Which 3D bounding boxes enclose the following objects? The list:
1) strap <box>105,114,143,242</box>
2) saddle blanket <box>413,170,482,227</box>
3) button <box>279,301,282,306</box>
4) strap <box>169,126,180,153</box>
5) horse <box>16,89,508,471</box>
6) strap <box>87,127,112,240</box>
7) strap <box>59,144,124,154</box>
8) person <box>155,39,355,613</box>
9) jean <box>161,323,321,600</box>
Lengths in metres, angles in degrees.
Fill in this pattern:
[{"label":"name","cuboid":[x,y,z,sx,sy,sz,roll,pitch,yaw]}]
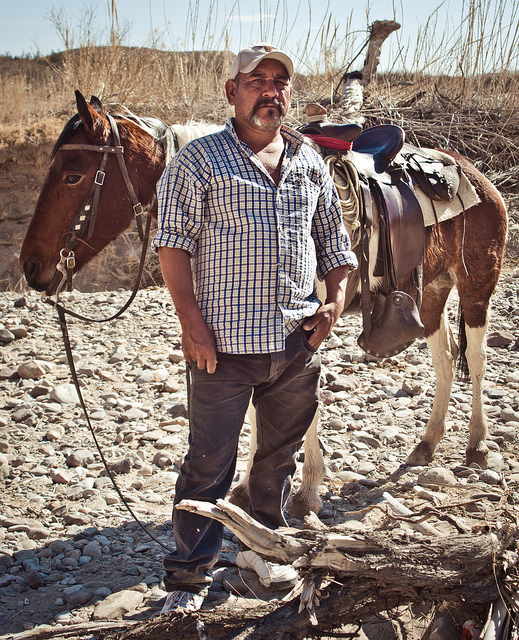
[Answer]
[{"label":"strap","cuboid":[-0.703,-0.770,4.183,0.258,0.592,0.266,21,33,36]},{"label":"saddle blanket","cuboid":[1.119,-0.712,4.622,0.373,0.292,0.119,-19,4,-20]},{"label":"button","cuboid":[0.087,-0.066,3.169,0.012,0.019,0.003,-5,15,-45]},{"label":"strap","cuboid":[-0.471,-1.003,4.316,0.034,0.106,0.115,-2,-19,-11]},{"label":"horse","cuboid":[0.245,-0.215,4.948,3.635,1.987,0.824,-3,8,-27]},{"label":"strap","cuboid":[-0.863,-0.734,4.159,0.127,0.603,0.075,-3,13,-38]},{"label":"strap","cuboid":[-0.903,-0.912,4.113,0.327,0.044,0.060,1,9,-11]},{"label":"person","cuboid":[-0.018,-0.105,3.292,0.898,2.081,0.450,2,11,-14]},{"label":"jean","cuboid":[-0.071,0.534,3.352,0.756,1.237,0.344,3,-1,-26]}]
